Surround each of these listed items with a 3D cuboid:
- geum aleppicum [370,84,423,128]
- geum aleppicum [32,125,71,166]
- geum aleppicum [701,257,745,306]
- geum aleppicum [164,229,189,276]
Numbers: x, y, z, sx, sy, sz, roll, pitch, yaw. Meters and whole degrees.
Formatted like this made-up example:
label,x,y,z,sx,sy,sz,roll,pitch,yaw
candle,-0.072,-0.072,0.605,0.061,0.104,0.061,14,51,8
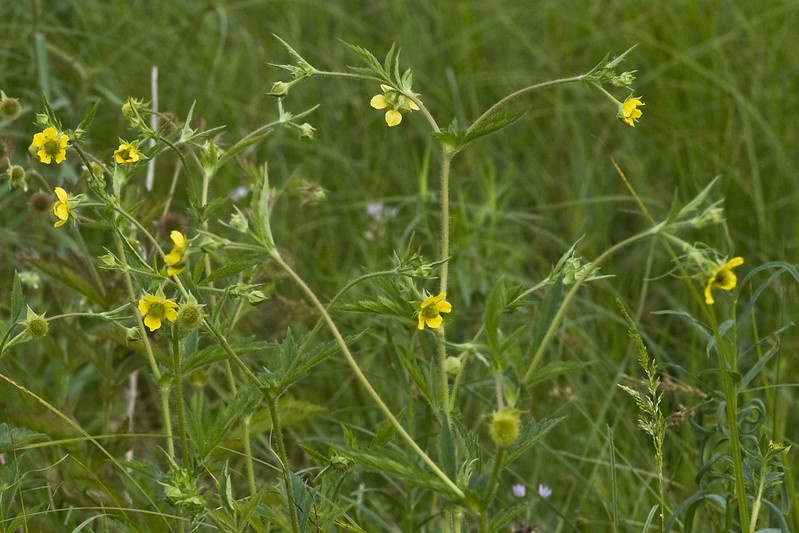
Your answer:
label,x,y,z,sx,sy,sz,roll,pitch,yaw
geum aleppicum,-0.017,-0.454,2.703,0.062,0.134,0.141,12,78,66
geum aleppicum,-1.001,-0.341,2.698,0.097,0.035,0.114,17,71,-6
geum aleppicum,0.860,0.030,2.480,0.116,0.147,0.054,-4,6,-24
geum aleppicum,-0.586,-0.046,2.455,0.033,0.094,0.104,4,34,1
